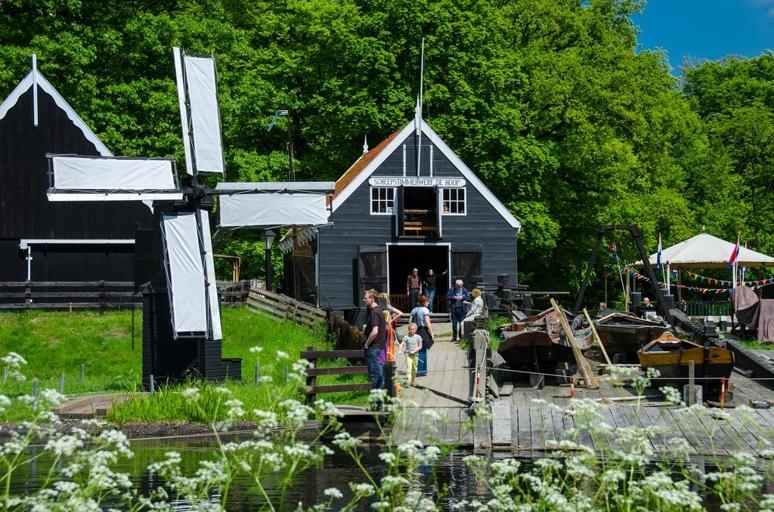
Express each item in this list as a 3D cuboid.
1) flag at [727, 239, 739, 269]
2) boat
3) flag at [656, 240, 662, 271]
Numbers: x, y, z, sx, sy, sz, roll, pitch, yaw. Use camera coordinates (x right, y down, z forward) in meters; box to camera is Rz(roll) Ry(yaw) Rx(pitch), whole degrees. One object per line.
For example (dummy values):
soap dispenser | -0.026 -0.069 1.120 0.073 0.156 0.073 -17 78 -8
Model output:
flag | 16.711 -0.094 56.638 0.510 1.197 1.797 -1 -1 16
boat | 8.707 3.705 45.076 8.891 3.444 6.807 -2 -2 43
flag | 13.636 0.004 58.855 0.350 1.488 2.284 -1 -1 13
